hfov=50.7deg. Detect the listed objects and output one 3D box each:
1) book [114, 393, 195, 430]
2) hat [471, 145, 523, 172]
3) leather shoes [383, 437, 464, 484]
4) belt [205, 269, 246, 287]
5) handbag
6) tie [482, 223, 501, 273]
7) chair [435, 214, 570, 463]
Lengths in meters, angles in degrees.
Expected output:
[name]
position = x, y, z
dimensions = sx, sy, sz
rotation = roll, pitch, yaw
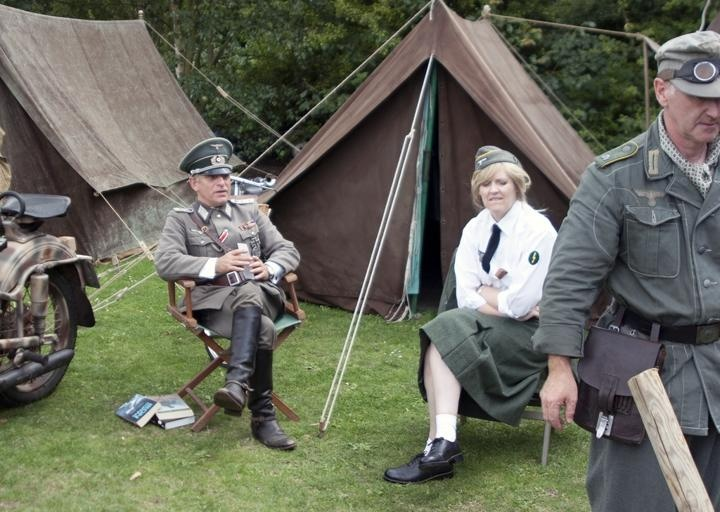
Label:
[book]
position = -1.288, 0.965, 4.715
dimensions = 0.263, 0.063, 0.271
rotation = -8, 15, -45
[hat]
position = 0.849, -0.610, 4.705
dimensions = 0.269, 0.144, 0.199
rotation = 1, -3, -1
[leather shoes]
position = 0.291, 1.123, 4.272
dimensions = 0.535, 0.254, 0.194
rotation = -4, 4, -1
[belt]
position = -0.844, 0.149, 4.806
dimensions = 0.158, 0.048, 0.118
rotation = -8, 5, 16
[handbag]
position = 1.073, 0.542, 3.186
dimensions = 0.340, 0.447, 0.177
rotation = 2, 11, 23
[tie]
position = 0.803, -0.046, 4.645
dimensions = 0.081, 0.314, 0.044
rotation = 18, 4, 25
[chair]
position = 0.754, 0.723, 4.802
dimensions = 0.934, 1.475, 1.035
rotation = 3, 11, 6
